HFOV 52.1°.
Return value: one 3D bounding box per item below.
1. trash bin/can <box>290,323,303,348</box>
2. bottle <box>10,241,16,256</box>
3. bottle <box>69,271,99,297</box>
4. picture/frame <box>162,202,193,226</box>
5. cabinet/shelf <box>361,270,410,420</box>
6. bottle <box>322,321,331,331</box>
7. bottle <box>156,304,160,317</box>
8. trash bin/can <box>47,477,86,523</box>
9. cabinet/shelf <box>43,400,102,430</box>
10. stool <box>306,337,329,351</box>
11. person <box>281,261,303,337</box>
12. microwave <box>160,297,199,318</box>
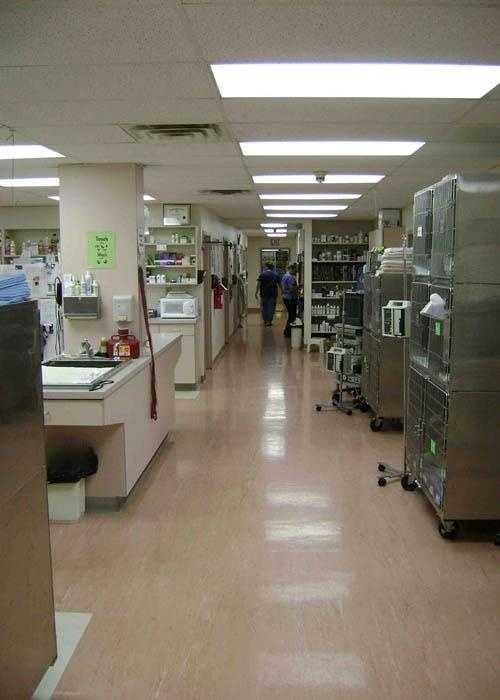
[{"bbox_3d":[1.037,-0.311,11.260,0.238,0.556,0.329,0,5,10],"label":"trash bin/can"},{"bbox_3d":[-3.937,-1.691,8.510,0.079,0.272,0.295,-2,5,-23],"label":"bottle"},{"bbox_3d":[-1.439,-0.569,4.460,0.186,0.200,0.067,-1,-9,0],"label":"bottle"},{"bbox_3d":[-1.091,-2.035,7.658,0.325,0.321,0.037,-3,-5,-6],"label":"picture/frame"},{"bbox_3d":[1.476,0.004,5.519,0.390,1.696,1.156,0,5,9],"label":"cabinet/shelf"},{"bbox_3d":[1.716,-0.531,11.490,0.137,0.144,0.255,-16,-14,-1],"label":"bottle"},{"bbox_3d":[-1.388,-0.599,7.740,0.048,0.185,0.215,-1,5,-12],"label":"bottle"},{"bbox_3d":[-1.194,0.986,3.446,0.232,0.312,0.414,0,0,-3],"label":"trash bin/can"},{"bbox_3d":[-1.106,0.392,3.179,0.271,0.136,0.250,0,-4,1],"label":"cabinet/shelf"},{"bbox_3d":[1.427,-0.104,10.839,0.300,0.231,0.441,0,12,9],"label":"stool"},{"bbox_3d":[1.038,-1.303,12.752,0.409,1.668,1.124,0,5,4],"label":"person"},{"bbox_3d":[-1.030,-0.623,7.397,0.518,0.337,0.320,-1,5,-10],"label":"microwave"}]
